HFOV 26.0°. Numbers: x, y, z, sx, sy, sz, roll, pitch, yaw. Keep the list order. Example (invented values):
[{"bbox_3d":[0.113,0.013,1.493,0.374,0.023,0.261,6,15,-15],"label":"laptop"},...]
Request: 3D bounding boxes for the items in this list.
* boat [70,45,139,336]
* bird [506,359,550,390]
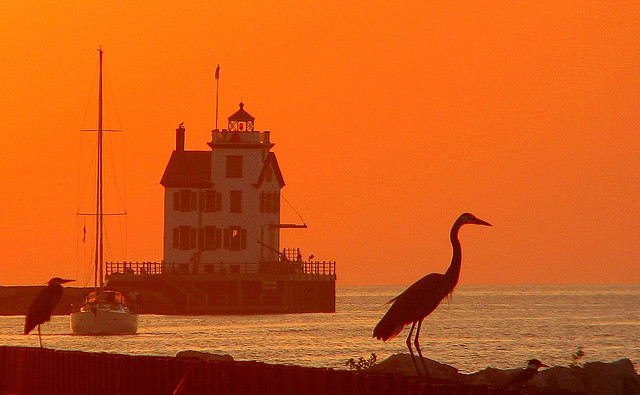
[{"bbox_3d":[-15.068,-0.523,93.384,4.958,19.863,11.106,-1,15,-10],"label":"boat"},{"bbox_3d":[8.779,7.255,58.718,1.998,1.367,1.073,1,-1,7],"label":"bird"}]
